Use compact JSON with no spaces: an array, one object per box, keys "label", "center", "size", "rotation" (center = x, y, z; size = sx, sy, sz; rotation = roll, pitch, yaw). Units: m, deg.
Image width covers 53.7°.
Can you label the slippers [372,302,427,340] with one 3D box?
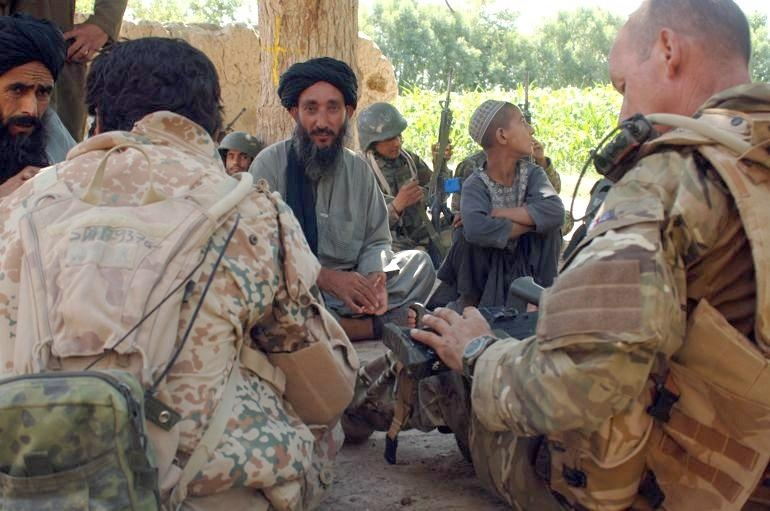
[{"label":"slippers","center":[0.054,0.361,5.014],"size":[0.236,0.131,0.317],"rotation":[4,19,22]}]
